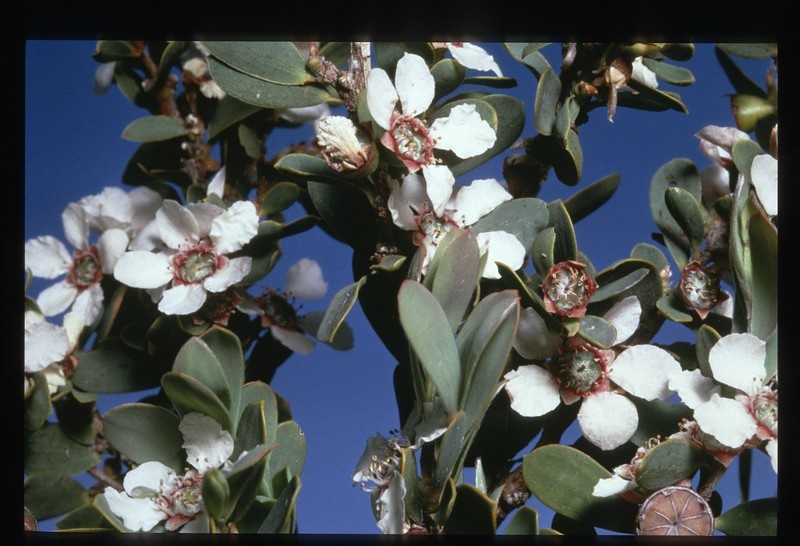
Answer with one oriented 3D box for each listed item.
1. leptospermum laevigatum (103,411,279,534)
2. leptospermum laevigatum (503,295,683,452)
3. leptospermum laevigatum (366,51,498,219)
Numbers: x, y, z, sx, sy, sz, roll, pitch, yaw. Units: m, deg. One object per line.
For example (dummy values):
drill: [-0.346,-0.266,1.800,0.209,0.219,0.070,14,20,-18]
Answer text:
leptospermum laevigatum: [-0.287,0.283,2.006,0.225,0.181,0.106,4,5,-8]
leptospermum laevigatum: [0.266,0.146,2.101,0.254,0.078,0.281,-4,18,9]
leptospermum laevigatum: [0.034,-0.190,2.036,0.198,0.219,0.087,9,-6,-37]
